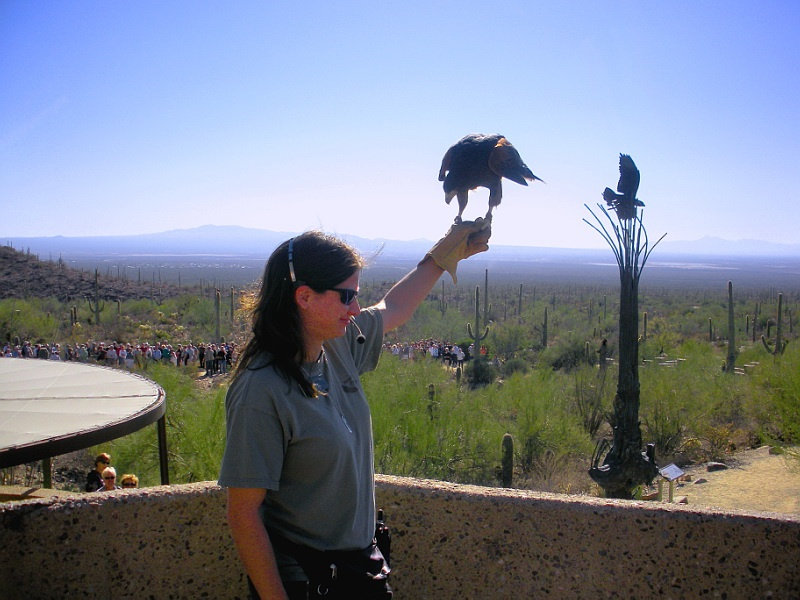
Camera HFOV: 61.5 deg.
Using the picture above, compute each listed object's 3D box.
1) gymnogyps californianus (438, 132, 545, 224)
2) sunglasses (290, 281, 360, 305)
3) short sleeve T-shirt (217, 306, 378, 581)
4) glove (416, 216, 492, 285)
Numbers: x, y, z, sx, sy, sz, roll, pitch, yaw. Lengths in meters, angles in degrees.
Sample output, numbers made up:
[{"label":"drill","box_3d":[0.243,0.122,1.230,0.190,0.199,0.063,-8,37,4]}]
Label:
[{"label":"gymnogyps californianus","box_3d":[0.798,-1.038,5.414,1.087,0.702,0.550,-23,32,-36]},{"label":"sunglasses","box_3d":[-0.376,-0.030,3.576,0.208,0.074,0.168,18,3,2]},{"label":"short sleeve T-shirt","box_3d":[-0.418,0.707,3.846,0.563,1.373,1.332,-5,6,34]},{"label":"glove","box_3d":[0.384,-0.342,4.319,0.406,0.558,0.406,7,6,45]}]
